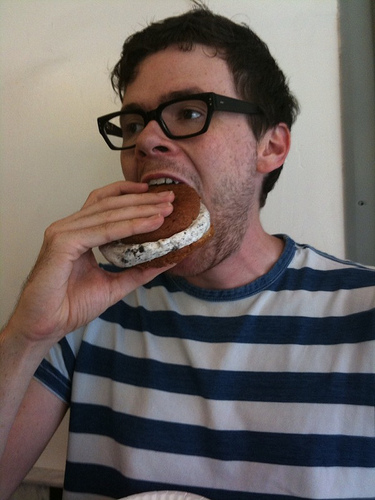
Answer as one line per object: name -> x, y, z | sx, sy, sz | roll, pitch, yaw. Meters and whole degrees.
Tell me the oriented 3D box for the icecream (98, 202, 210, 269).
icecream -> -0.096, -0.019, 1.400 | 0.328, 0.132, 0.144 | -9, 24, 2
